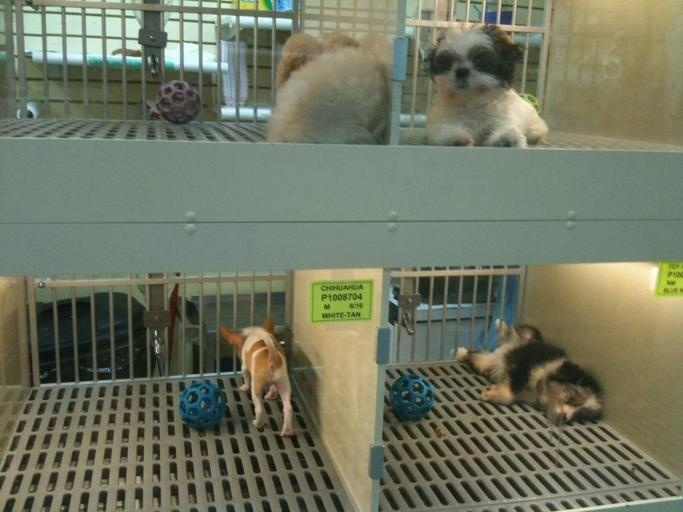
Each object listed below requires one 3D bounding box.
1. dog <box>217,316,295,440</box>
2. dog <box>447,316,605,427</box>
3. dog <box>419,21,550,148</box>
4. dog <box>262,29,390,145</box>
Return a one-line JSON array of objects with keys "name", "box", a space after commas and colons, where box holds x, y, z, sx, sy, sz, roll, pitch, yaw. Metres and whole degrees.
[{"name": "dog", "box": [-0.251, 0.327, 2.034, 0.153, 0.290, 0.432, -6, 12, -19]}, {"name": "dog", "box": [0.532, 0.338, 2.051, 0.305, 0.220, 0.431, 1, 35, -40]}, {"name": "dog", "box": [0.341, -0.393, 1.652, 0.269, 0.296, 0.351, 8, 16, 36]}, {"name": "dog", "box": [-0.026, -0.357, 1.472, 0.252, 0.231, 0.131, -2, 12, -6]}]
